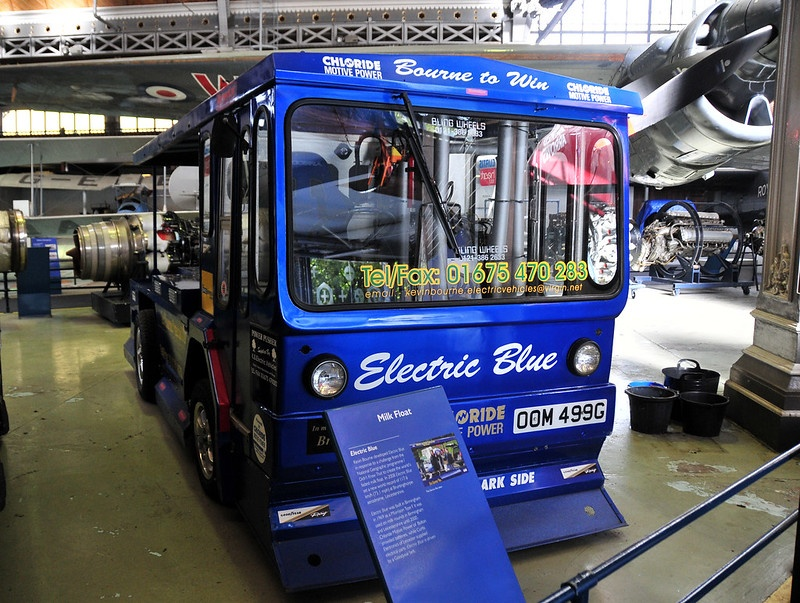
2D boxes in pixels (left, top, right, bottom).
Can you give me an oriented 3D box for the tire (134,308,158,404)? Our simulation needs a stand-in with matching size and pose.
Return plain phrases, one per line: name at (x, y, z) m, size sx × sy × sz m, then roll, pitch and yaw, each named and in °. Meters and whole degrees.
tire at (-2.752, 0.612, 6.611) m, size 0.184 × 0.831 × 0.824 m, roll -3°, pitch 42°, yaw -16°
